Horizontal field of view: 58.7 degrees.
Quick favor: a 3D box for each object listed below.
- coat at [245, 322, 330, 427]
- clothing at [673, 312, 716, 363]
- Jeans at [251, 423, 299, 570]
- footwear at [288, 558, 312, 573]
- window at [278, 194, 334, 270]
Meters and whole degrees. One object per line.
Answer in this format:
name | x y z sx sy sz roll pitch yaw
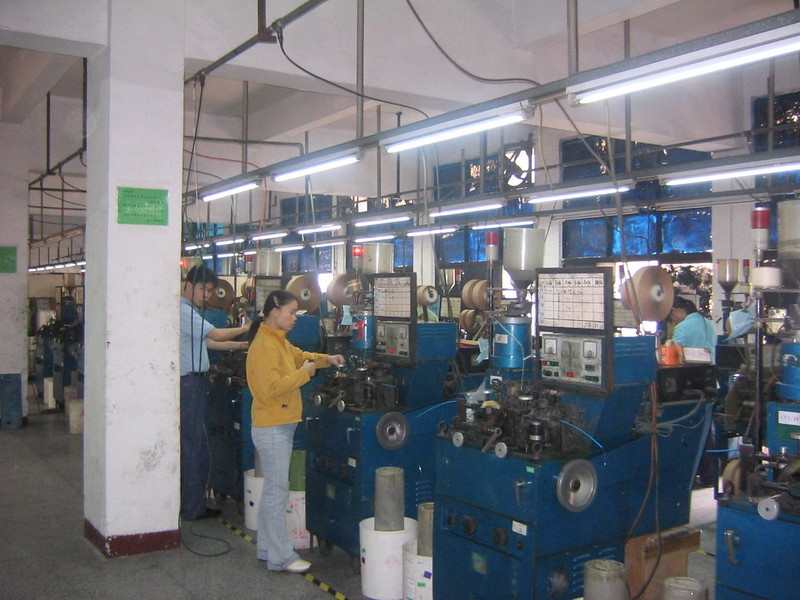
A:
coat | -0.797 0.515 5.525 0.685 0.863 0.733 -3 2 -8
clothing | 2.994 0.404 7.172 0.586 0.521 0.304 -2 -7 -16
Jeans | -0.952 1.493 5.443 0.334 1.124 0.223 -1 3 3
footwear | -0.762 2.017 5.442 0.158 0.076 0.086 -1 7 -5
window | -1.828 -1.418 14.118 1.906 2.203 0.084 5 7 44
